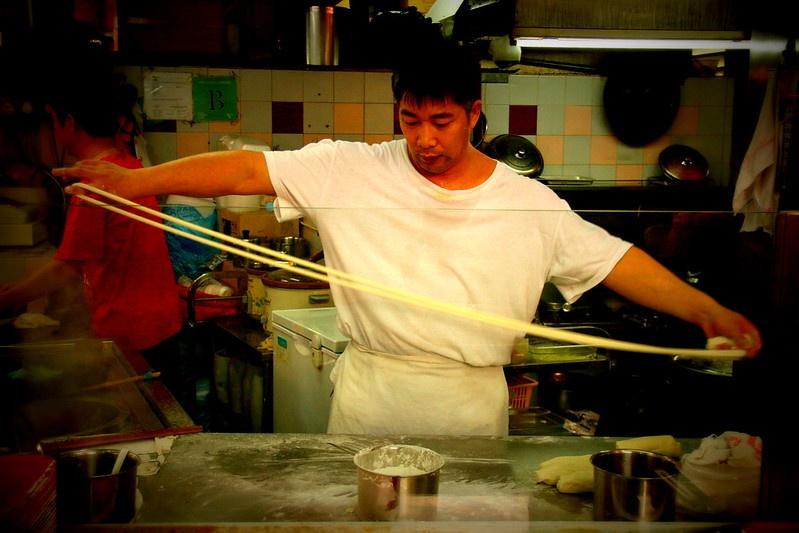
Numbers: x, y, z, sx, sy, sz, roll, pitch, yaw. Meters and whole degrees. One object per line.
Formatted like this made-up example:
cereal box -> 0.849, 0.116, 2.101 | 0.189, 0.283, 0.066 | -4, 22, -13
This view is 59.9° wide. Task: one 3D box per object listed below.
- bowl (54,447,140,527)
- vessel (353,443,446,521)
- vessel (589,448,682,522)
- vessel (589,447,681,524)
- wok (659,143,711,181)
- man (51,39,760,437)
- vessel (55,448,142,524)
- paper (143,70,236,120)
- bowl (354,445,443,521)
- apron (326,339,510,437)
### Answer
bowl -> -0.853, 0.605, 1.973 | 0.242, 0.124, 0.216 | 1, -2, 2
vessel -> -0.017, 0.611, 1.967 | 0.244, 0.125, 0.217 | 0, 9, -22
vessel -> 0.664, 0.624, 1.967 | 0.219, 0.112, 0.196 | 0, -1, 3
vessel -> 0.668, 0.628, 1.998 | 0.237, 0.121, 0.217 | -4, 7, -23
wok -> 2.180, -0.791, 5.340 | 0.365, 0.292, 0.168 | 4, -9, 2
man -> -0.127, -0.154, 2.923 | 3.061, 1.722, 0.541 | 4, 4, 1
vessel -> -0.843, 0.619, 1.983 | 0.240, 0.124, 0.217 | 1, -2, 7
paper -> -1.499, -1.267, 5.008 | 0.648, 0.308, 0.008 | 6, 3, 12
bowl -> -0.006, 0.604, 1.987 | 0.251, 0.135, 0.258 | 2, 12, 0
apron -> -0.041, 0.421, 2.461 | 0.516, 0.256, 0.319 | 4, 3, -6
